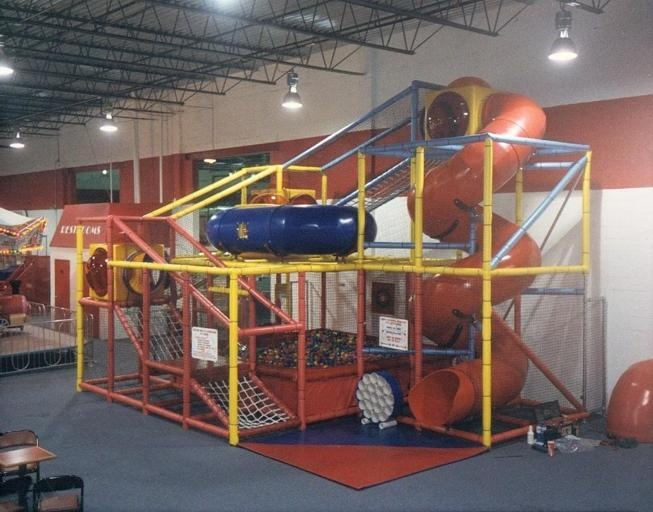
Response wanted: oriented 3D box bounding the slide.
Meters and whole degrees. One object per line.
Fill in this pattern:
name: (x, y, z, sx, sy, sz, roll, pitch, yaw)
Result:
slide: (2.259, -0.202, 11.810, 1.912, 5.056, 1.815, 6, 6, 38)
